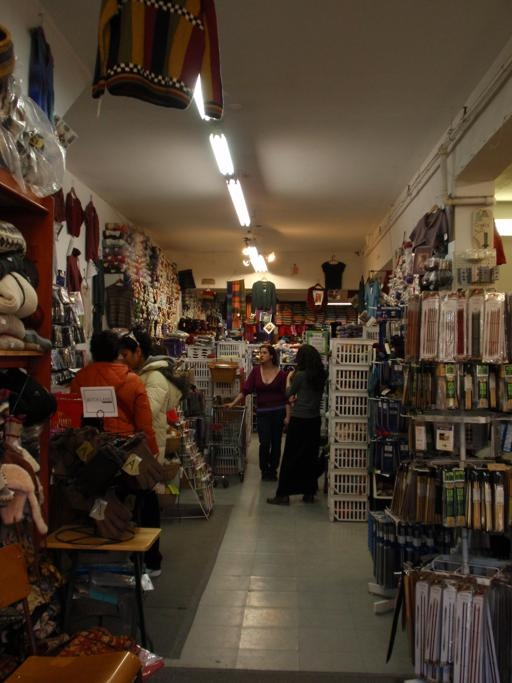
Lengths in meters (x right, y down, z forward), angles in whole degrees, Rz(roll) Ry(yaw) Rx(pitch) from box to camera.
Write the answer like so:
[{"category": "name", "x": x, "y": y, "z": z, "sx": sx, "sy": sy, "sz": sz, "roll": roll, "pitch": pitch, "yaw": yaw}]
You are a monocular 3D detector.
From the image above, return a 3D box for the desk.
[{"category": "desk", "x": -0.655, "y": 1.103, "z": 2.543, "sx": 0.579, "sy": 0.679, "sz": 0.453, "roll": 2, "pitch": -2, "yaw": -1}]

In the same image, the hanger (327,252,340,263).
[{"category": "hanger", "x": 1.730, "y": -1.892, "z": 11.803, "sx": 0.215, "sy": 0.243, "sz": 0.006, "roll": 12, "pitch": 17, "yaw": 32}]

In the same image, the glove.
[{"category": "glove", "x": -0.767, "y": 0.687, "z": 2.552, "sx": 0.547, "sy": 0.569, "sz": 0.544, "roll": 5, "pitch": 11, "yaw": -19}]

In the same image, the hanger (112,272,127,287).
[{"category": "hanger", "x": -1.977, "y": -0.884, "z": 7.507, "sx": 0.229, "sy": 0.238, "sz": 0.025, "roll": 0, "pitch": -2, "yaw": -19}]

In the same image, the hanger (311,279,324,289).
[{"category": "hanger", "x": 1.391, "y": -1.292, "z": 11.879, "sx": 0.227, "sy": 0.258, "sz": 0.017, "roll": 3, "pitch": -16, "yaw": 21}]

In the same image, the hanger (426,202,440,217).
[{"category": "hanger", "x": 1.757, "y": -1.314, "z": 5.232, "sx": 0.132, "sy": 0.167, "sz": 0.301, "roll": 0, "pitch": -2, "yaw": 18}]
